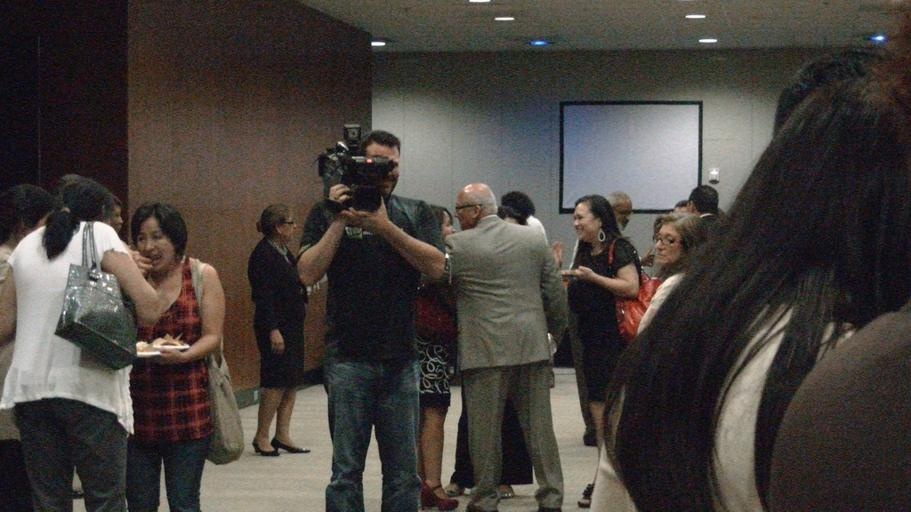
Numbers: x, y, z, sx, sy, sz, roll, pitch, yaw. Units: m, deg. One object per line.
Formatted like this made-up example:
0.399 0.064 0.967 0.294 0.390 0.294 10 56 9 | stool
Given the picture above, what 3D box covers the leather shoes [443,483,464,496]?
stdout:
0.001 1.558 5.201 0.063 0.061 0.155 -1 -8 9 | leather shoes
